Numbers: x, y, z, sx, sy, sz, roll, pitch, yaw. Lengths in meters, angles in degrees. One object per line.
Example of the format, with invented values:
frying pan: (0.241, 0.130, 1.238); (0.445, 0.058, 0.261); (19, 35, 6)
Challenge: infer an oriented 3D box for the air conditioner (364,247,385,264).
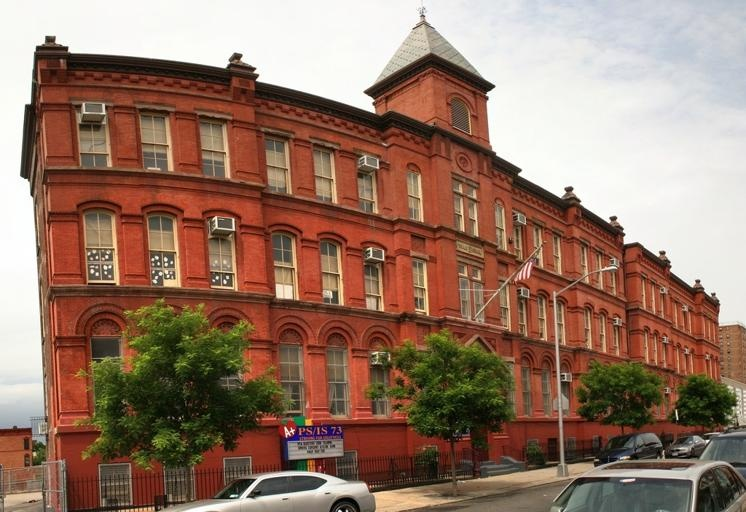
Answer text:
air conditioner: (-0.063, 0.087, 53.076); (1.229, 0.754, 0.680); (14, -34, -44)

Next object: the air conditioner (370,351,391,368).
air conditioner: (0.398, 4.885, 49.373); (0.832, 0.479, 1.235); (0, -20, 0)

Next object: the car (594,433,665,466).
car: (12.908, 9.901, 51.967); (2.515, 1.740, 4.583); (-11, -10, 39)

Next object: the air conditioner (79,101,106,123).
air conditioner: (-12.843, -6.738, 47.048); (1.074, 0.877, 0.905); (0, -17, -16)

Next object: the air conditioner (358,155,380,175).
air conditioner: (-0.312, -5.004, 53.839); (1.000, 0.876, 1.457); (-11, -17, 19)

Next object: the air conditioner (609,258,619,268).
air conditioner: (15.896, 0.395, 68.220); (1.028, 0.638, 1.210); (0, -4, 23)
